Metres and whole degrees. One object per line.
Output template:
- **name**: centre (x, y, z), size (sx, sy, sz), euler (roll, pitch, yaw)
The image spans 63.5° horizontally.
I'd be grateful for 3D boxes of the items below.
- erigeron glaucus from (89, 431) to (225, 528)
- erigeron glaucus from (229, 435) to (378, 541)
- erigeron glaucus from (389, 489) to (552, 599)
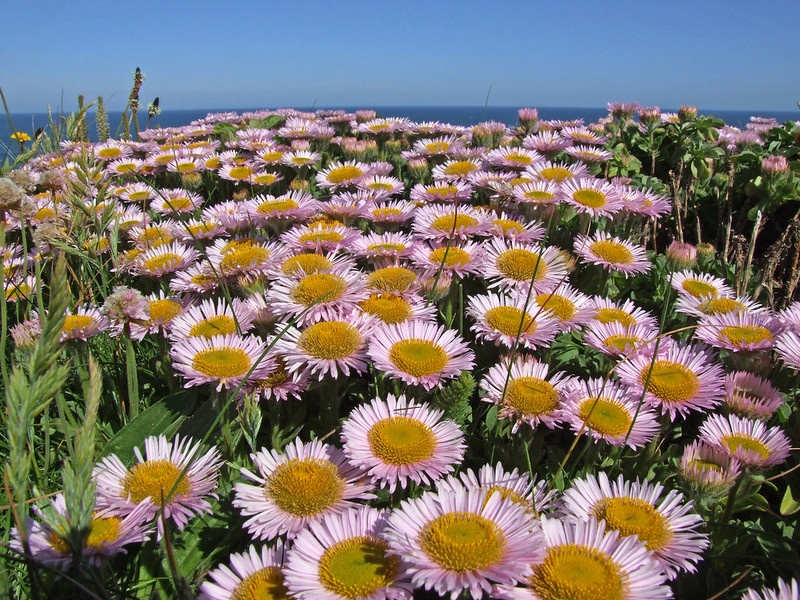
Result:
- **erigeron glaucus**: centre (-0.901, 0.682, 2.428), size (0.448, 0.225, 0.475), euler (-1, 7, 8)
- **erigeron glaucus**: centre (-0.340, 0.685, 2.339), size (0.386, 0.154, 0.423), euler (9, 54, -2)
- **erigeron glaucus**: centre (0.219, 0.773, 2.075), size (0.352, 0.162, 0.387), euler (-7, 32, -10)
